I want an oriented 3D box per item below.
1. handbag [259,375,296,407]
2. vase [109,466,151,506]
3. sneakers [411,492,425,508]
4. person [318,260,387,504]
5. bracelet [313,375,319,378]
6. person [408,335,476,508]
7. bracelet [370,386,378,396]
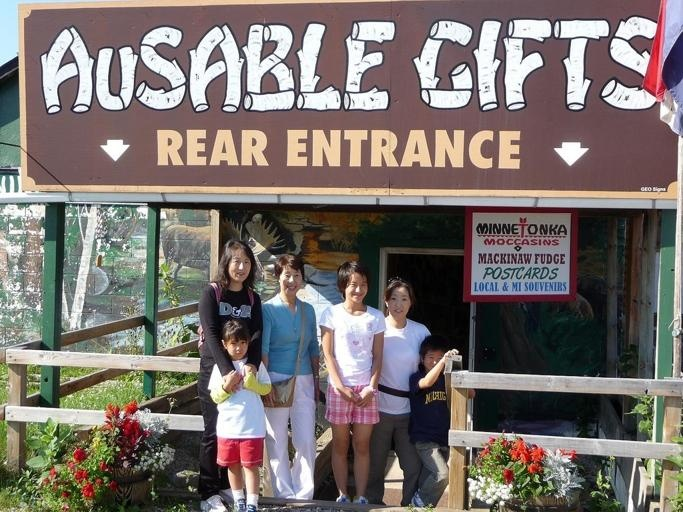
[{"bbox_3d":[-0.641,1.313,7.644,0.288,0.296,0.111,-1,-17,29],"label":"handbag"},{"bbox_3d":[-2.119,2.284,7.808,0.331,0.375,0.359,0,-3,-5],"label":"vase"},{"bbox_3d":[0.765,2.409,7.784,0.094,0.128,0.126,1,7,0],"label":"sneakers"},{"bbox_3d":[0.093,1.258,7.877,0.666,2.357,0.625,2,-11,-1],"label":"person"},{"bbox_3d":[-0.267,1.216,7.977,0.048,0.054,0.052,1,-4,5],"label":"bracelet"},{"bbox_3d":[0.952,1.637,7.862,0.426,1.692,0.724,7,-12,-26],"label":"person"},{"bbox_3d":[0.323,1.337,7.796,0.064,0.059,0.073,3,8,18],"label":"bracelet"}]
